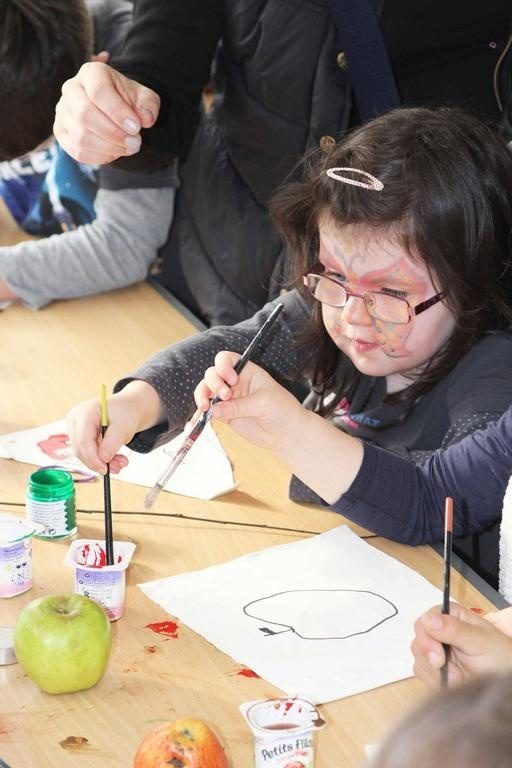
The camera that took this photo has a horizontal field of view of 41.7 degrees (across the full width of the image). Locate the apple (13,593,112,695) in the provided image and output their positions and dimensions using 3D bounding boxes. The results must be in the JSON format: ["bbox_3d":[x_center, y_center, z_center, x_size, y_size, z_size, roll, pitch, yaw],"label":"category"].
[{"bbox_3d":[-0.179,0.248,0.689,0.096,0.087,0.090,3,13,8],"label":"apple"}]

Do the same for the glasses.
[{"bbox_3d":[0.168,-0.171,1.136,0.223,0.088,0.214,-10,18,-28],"label":"glasses"}]
